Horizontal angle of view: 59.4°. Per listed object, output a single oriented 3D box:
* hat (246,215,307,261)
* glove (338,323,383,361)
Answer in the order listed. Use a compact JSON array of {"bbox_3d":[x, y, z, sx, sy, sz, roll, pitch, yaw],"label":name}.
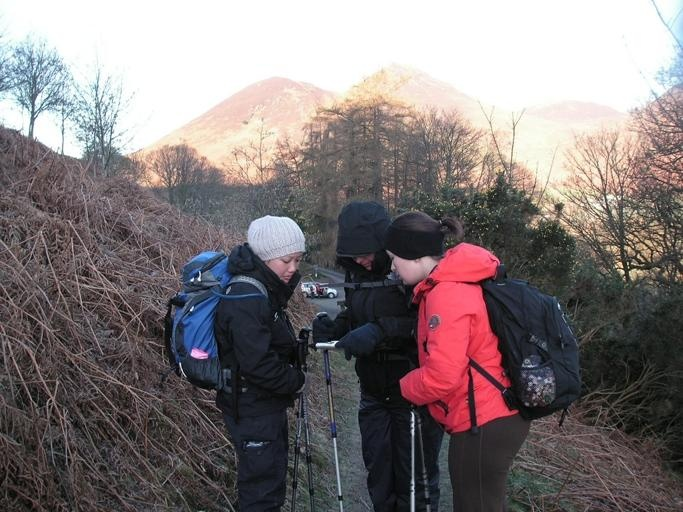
[{"bbox_3d":[-0.641,-0.175,5.864,0.388,0.428,0.502,-21,25,-9],"label":"hat"},{"bbox_3d":[0.196,0.870,5.943,0.368,0.146,0.286,-20,11,38],"label":"glove"}]
